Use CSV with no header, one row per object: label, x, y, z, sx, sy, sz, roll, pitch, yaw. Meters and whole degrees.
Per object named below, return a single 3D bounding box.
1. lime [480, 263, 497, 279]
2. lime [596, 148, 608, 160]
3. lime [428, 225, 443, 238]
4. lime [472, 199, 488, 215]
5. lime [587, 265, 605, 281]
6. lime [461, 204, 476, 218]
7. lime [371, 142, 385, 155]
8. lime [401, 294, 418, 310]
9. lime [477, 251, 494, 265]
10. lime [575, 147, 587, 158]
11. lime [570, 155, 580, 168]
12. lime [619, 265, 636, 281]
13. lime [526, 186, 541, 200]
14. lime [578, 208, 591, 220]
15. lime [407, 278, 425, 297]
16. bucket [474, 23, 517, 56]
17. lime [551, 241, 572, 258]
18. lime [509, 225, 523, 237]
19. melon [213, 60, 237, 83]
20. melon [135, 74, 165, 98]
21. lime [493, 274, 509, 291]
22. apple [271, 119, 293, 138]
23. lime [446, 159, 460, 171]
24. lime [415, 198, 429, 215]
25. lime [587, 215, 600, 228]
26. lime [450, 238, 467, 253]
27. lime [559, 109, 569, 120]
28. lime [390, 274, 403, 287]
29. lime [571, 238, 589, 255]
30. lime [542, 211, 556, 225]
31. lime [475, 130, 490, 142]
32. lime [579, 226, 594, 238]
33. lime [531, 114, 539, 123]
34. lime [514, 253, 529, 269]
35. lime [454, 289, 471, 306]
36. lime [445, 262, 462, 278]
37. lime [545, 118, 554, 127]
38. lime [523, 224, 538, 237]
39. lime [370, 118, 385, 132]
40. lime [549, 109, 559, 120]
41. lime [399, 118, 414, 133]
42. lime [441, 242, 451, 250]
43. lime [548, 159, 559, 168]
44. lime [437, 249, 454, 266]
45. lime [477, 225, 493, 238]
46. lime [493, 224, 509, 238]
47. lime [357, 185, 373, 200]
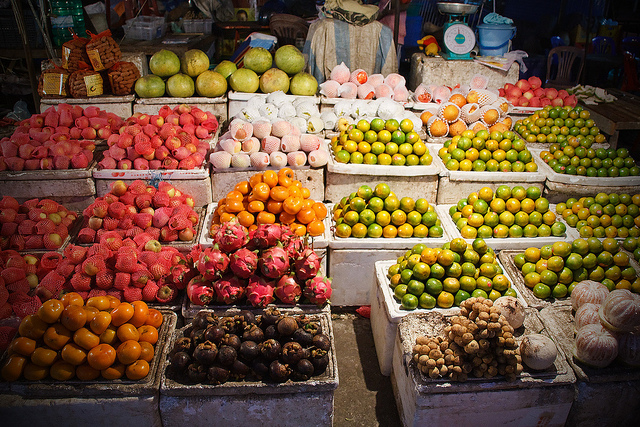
lime,1.393,0.465,3.633,0.119,0.144,0.121,18,27,22
lime,2.907,-0.624,4.513,0.099,0.117,0.100,4,-19,1
lime,1.067,0.162,4.042,0.104,0.057,0.104,-1,29,26
lime,1.505,-0.071,4.172,0.134,0.135,0.127,-35,-16,4
lime,2.316,0.499,3.676,0.124,0.126,0.123,7,4,-2
lime,1.397,-0.034,4.147,0.102,0.121,0.104,-11,-31,41
lime,0.572,-0.658,4.345,0.115,0.113,0.108,0,-14,12
lime,0.724,0.705,3.569,0.118,0.115,0.111,-7,-8,43
lime,1.401,0.372,3.733,0.107,0.104,0.126,14,51,4
lime,2.705,-0.642,4.532,0.104,0.108,0.100,2,-12,10
lime,2.628,-0.549,4.512,0.092,0.112,0.093,-2,-1,-2
lime,2.566,0.501,3.696,0.114,0.135,0.111,2,-18,-2
lime,1.994,-0.193,4.144,0.120,0.118,0.116,-5,-22,1
lime,2.468,0.002,4.117,0.095,0.116,0.095,-7,2,-15
lime,0.781,0.589,3.582,0.127,0.126,0.135,10,-2,39
bucket,2.486,-2.490,6.263,0.494,0.424,0.253,9,26,18
lime,2.043,0.294,3.719,0.132,0.137,0.141,5,-4,13
lime,1.805,0.156,4.029,0.121,0.095,0.074,7,25,13
melon,-1.175,-1.808,5.510,0.278,0.286,0.263,-3,-9,-1
melon,-2.076,-1.498,5.296,0.284,0.262,0.287,21,-26,-38
lime,1.507,0.570,3.648,0.133,0.109,0.076,1,24,1
apple,-0.379,-0.875,4.428,0.173,0.101,0.181,3,40,4
lime,1.340,-0.499,4.435,0.105,0.099,0.103,-2,26,-7
lime,0.947,-0.077,4.140,0.121,0.142,0.123,-29,-33,35
lime,2.539,0.066,4.060,0.108,0.096,0.088,5,25,11
lime,1.157,0.259,3.717,0.121,0.117,0.114,26,-16,13
lime,2.806,-1.147,5.040,0.090,0.085,0.090,-1,-24,-1
lime,0.645,0.563,3.730,0.094,0.091,0.092,0,2,-24
lime,2.192,0.271,3.691,0.136,0.134,0.125,13,-12,-20
lime,2.119,0.033,4.049,0.114,0.099,0.084,0,24,0
lime,1.678,-0.808,4.525,0.144,0.096,0.126,8,25,15
lime,2.425,0.162,3.997,0.097,0.103,0.103,-1,-13,16
lime,2.495,-1.114,5.095,0.083,0.102,0.084,3,3,42
lime,1.758,0.408,3.875,0.100,0.101,0.121,4,47,4
lime,1.151,0.671,3.578,0.120,0.147,0.120,10,-27,-14
lime,1.090,0.458,3.594,0.127,0.125,0.121,-4,4,0
lime,2.635,-1.047,5.024,0.070,0.080,0.070,-14,57,-27
lime,1.937,0.155,4.026,0.104,0.108,0.105,-6,12,-19
lime,0.571,-0.894,4.396,0.124,0.123,0.125,14,-22,-17
lime,2.704,-1.153,5.060,0.108,0.104,0.107,1,24,-16
lime,0.860,-0.884,4.368,0.124,0.145,0.124,-11,-13,-7
lime,1.088,0.270,3.767,0.054,0.066,0.055,0,-5,32
lime,2.379,-0.519,4.463,0.078,0.093,0.078,38,-5,43
lime,1.028,0.351,3.630,0.110,0.118,0.124,-11,49,0
lime,1.502,0.161,4.044,0.102,0.108,0.123,10,44,-2
lime,1.665,0.153,4.082,0.116,0.136,0.116,5,-24,-12
lime,0.415,-0.202,4.100,0.125,0.131,0.122,5,6,2
